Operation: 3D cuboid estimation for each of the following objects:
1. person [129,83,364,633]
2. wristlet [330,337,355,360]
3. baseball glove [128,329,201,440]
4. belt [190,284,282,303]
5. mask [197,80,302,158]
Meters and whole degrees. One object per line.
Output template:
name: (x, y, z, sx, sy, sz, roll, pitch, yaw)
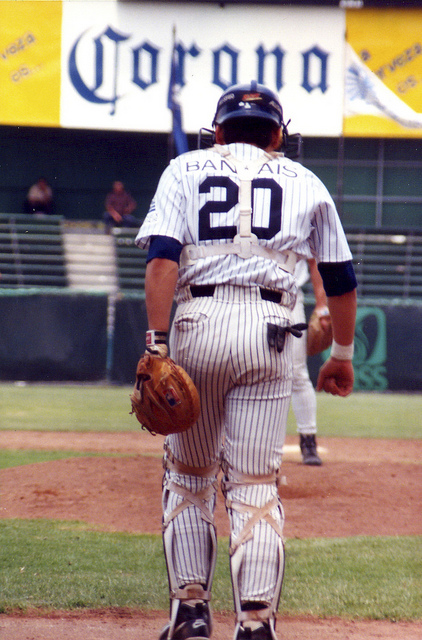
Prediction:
person: (0.131, 0.155, 6.477, 0.922, 2.334, 0.515, 1, 3, -1)
wristlet: (0.584, 0.129, 6.658, 0.076, 0.073, 0.083, 1, -5, -17)
baseball glove: (-0.205, 0.281, 6.436, 0.324, 0.515, 0.209, -19, -23, 36)
belt: (0.105, -0.113, 6.411, 0.389, 0.070, 0.066, 1, 3, -2)
mask: (0.184, -0.905, 6.749, 0.416, 0.331, 0.465, 2, -4, -3)
